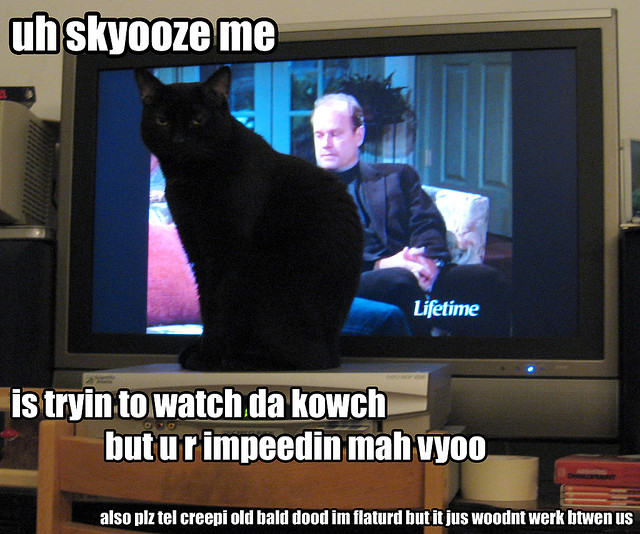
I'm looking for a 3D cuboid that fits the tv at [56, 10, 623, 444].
[{"bbox_3d":[0.091,-0.066,1.519,1.042,0.675,0.103,0,-2,6],"label":"tv"}]
